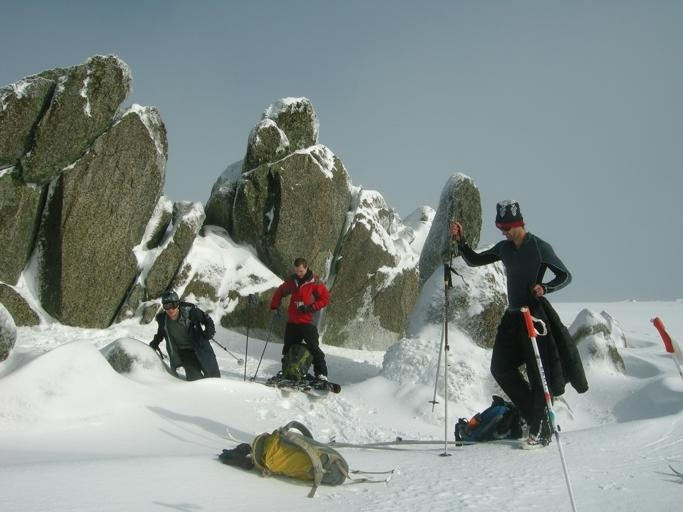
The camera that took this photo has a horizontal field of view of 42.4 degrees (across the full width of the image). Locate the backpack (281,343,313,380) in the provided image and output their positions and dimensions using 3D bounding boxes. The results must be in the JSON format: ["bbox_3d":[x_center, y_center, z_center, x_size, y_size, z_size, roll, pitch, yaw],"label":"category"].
[{"bbox_3d":[-0.856,2.172,18.019,0.452,0.829,0.276,10,-12,22],"label":"backpack"}]

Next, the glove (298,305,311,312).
[{"bbox_3d":[-0.705,1.043,17.676,0.248,0.148,0.154,5,-1,-1],"label":"glove"}]
